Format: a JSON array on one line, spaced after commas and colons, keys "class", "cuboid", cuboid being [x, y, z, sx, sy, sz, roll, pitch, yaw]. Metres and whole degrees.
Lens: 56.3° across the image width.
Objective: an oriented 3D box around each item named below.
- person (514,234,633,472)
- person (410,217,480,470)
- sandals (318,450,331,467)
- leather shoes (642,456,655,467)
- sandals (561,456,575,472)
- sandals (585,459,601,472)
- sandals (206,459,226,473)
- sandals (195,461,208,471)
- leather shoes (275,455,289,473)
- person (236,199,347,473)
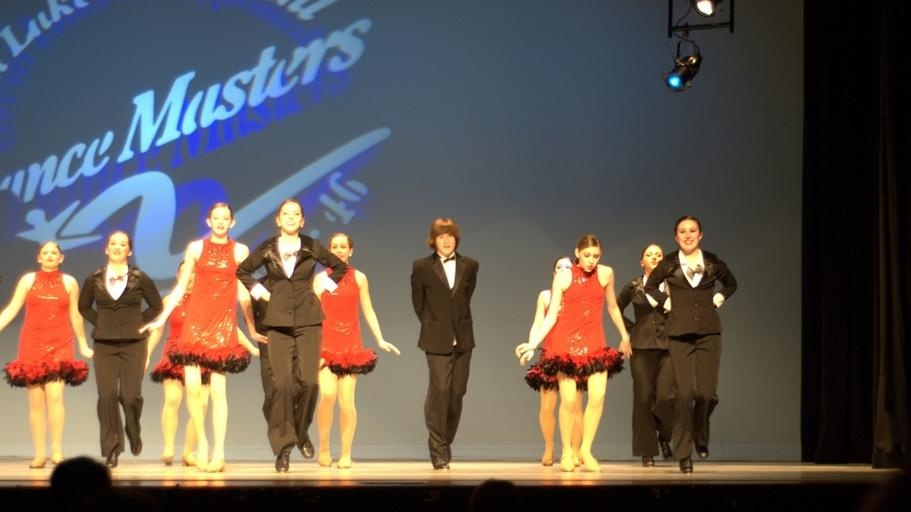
[{"class": "person", "cuboid": [1.417, 1.128, 9.866, 1.006, 2.639, 0.632, -4, -12, 12]}, {"class": "person", "cuboid": [-0.128, 0.988, 9.945, 0.760, 2.913, 0.515, -1, -12, -1]}, {"class": "sandals", "cuboid": [-1.593, 2.438, 10.306, 0.187, 0.182, 0.185, -1, -1, 4]}, {"class": "leather shoes", "cuboid": [2.373, 2.531, 10.507, 0.087, 0.103, 0.228, 0, -13, -1]}, {"class": "sandals", "cuboid": [1.274, 2.379, 9.751, 0.133, 0.098, 0.253, -1, -15, 0]}, {"class": "sandals", "cuboid": [1.553, 2.380, 9.718, 0.178, 0.144, 0.461, -3, -12, 8]}, {"class": "sandals", "cuboid": [-2.693, 2.326, 9.449, 0.196, 0.131, 0.357, 2, -12, -17]}, {"class": "sandals", "cuboid": [-2.833, 2.337, 9.501, 0.093, 0.104, 0.030, 8, -16, 5]}, {"class": "leather shoes", "cuboid": [-1.938, 2.284, 9.416, 0.127, 0.202, 0.171, 3, -13, -19]}, {"class": "person", "cuboid": [-1.883, 0.880, 9.557, 1.017, 2.989, 0.573, 6, -14, -33]}]
